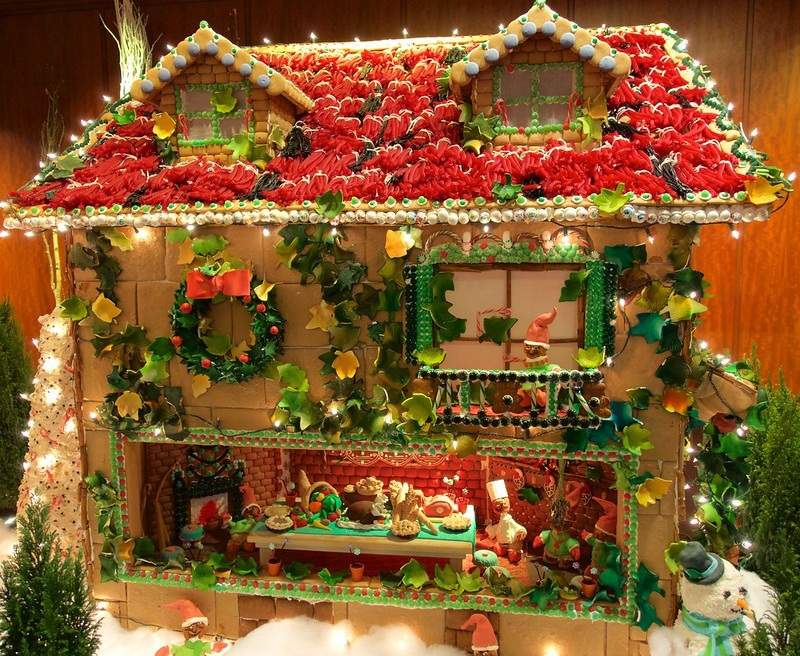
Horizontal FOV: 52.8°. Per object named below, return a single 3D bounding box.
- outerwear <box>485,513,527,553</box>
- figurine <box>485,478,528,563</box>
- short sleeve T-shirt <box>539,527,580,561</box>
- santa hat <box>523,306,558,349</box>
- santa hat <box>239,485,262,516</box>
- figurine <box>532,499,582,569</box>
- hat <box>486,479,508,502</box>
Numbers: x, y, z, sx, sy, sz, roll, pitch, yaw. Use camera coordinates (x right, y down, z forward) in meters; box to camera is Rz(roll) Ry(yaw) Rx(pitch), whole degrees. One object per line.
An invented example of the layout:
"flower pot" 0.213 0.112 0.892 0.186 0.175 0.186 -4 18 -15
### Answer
"outerwear" 1.002 1.941 7.545 0.255 0.375 0.142 -13 -10 10
"figurine" 1.015 1.837 7.585 0.245 0.639 0.405 21 -35 -33
"short sleeve T-shirt" 1.422 1.896 7.312 0.382 0.418 0.236 -3 -9 26
"santa hat" 1.148 0.011 6.632 0.198 0.376 0.187 11 -15 24
"santa hat" -1.483 1.761 8.086 0.193 0.292 0.108 -24 -10 37
"figurine" 1.429 1.841 7.251 0.411 0.663 0.287 6 6 29
"hat" 0.919 1.527 7.647 0.170 0.188 0.252 -11 37 -2
